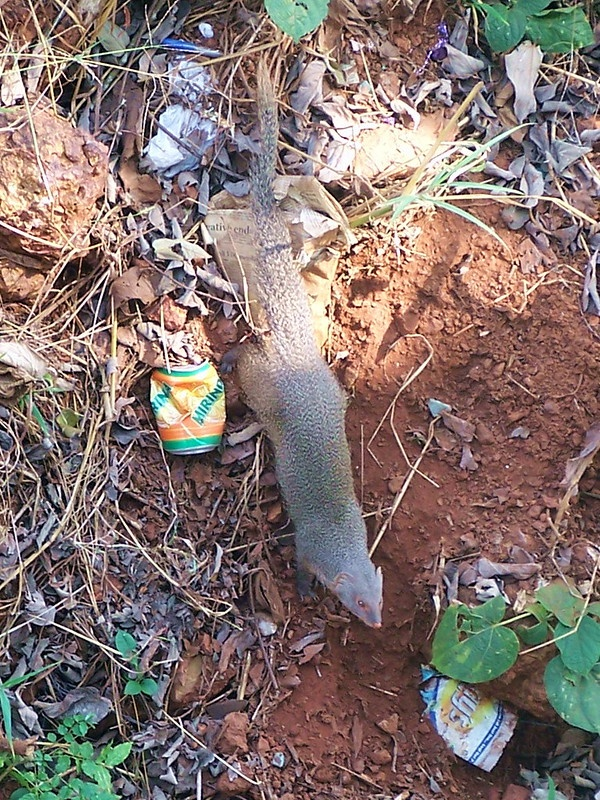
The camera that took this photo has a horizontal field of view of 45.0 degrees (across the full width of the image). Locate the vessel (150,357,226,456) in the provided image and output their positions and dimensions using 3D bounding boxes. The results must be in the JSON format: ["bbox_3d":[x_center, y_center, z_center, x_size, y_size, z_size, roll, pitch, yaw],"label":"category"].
[{"bbox_3d":[-0.432,0.031,2.810,0.282,0.203,0.319,-10,64,-7],"label":"vessel"}]

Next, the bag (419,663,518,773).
[{"bbox_3d":[0.641,1.239,2.890,0.262,0.251,0.391,-9,77,15],"label":"bag"}]
